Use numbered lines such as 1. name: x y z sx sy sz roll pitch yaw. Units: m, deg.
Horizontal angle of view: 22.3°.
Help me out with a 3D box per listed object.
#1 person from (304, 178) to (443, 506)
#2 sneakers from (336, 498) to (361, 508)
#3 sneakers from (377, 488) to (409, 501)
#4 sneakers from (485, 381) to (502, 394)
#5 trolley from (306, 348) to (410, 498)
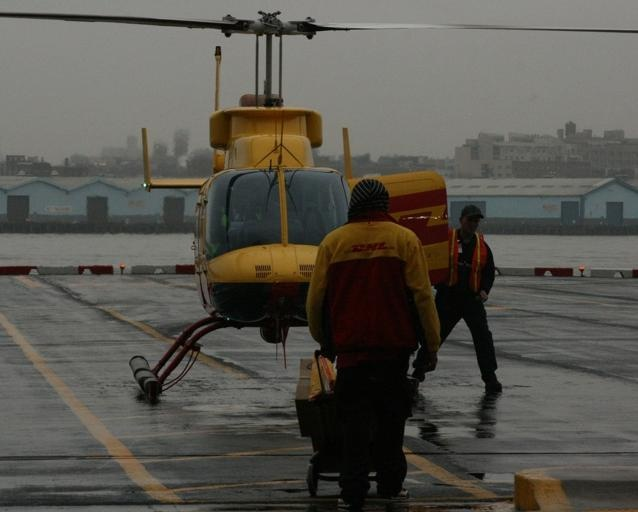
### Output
1. person: 0.562 0.916 16.772 1.352 3.351 0.553 -1 4 0
2. sneakers: 0.311 2.553 16.720 0.280 0.097 0.091 -1 7 18
3. sneakers: 0.803 2.487 16.981 0.379 0.152 0.122 -2 8 2
4. sneakers: 2.264 1.701 20.768 0.193 0.161 0.140 -4 4 30
5. trolley: 0.497 1.876 17.526 1.403 1.532 2.445 -1 4 -1
